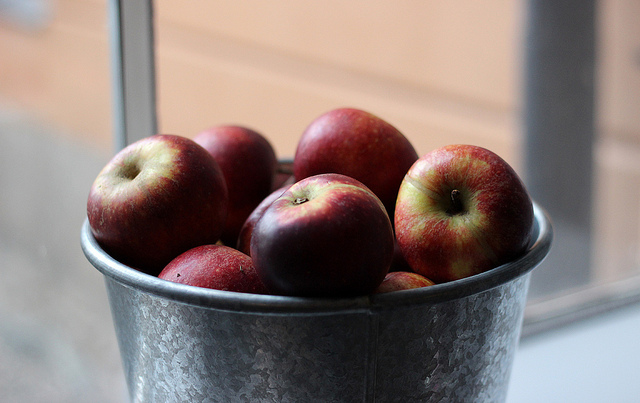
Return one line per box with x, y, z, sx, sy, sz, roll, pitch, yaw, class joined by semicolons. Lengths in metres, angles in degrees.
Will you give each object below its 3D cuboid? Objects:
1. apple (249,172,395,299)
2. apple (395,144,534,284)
0.007;0.038;0.855;0.142;0.155;0.149;-2;15;25;apple
0.209;0.024;0.955;0.167;0.182;0.182;-10;-17;14;apple
